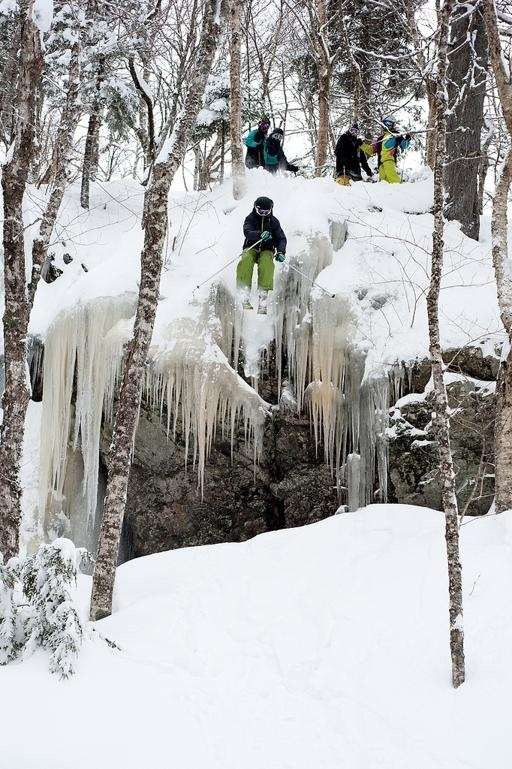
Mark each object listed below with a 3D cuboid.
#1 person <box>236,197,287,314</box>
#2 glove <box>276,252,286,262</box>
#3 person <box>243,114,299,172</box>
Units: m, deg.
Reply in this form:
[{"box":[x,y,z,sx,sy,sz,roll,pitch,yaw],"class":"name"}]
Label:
[{"box":[0.042,-1.314,10.177,0.503,1.175,0.511,-1,-1,0],"class":"person"},{"box":[0.245,-1.281,9.986,0.064,0.097,0.059,7,4,7],"class":"glove"},{"box":[0.154,-2.871,12.040,0.582,0.602,1.175,-1,-2,0],"class":"person"}]
